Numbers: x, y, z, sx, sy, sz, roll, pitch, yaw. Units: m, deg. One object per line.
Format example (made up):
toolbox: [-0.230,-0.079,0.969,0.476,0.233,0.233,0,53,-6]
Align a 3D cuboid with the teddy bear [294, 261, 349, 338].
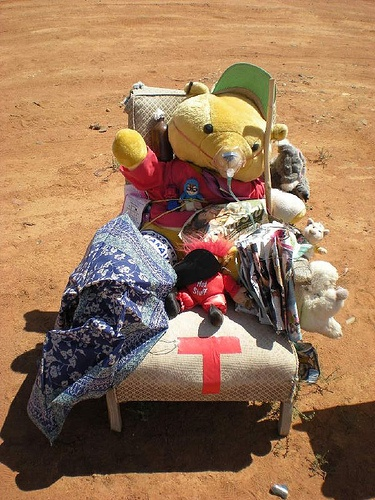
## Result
teddy bear: [0.736,0.268,3.043,0.281,0.389,0.302,3,32,6]

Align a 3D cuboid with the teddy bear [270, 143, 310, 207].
teddy bear: [0.718,-0.558,3.859,0.289,0.314,0.413,-7,12,0]

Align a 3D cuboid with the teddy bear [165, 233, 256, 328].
teddy bear: [0.102,0.180,3.175,0.530,0.262,0.489,4,65,9]

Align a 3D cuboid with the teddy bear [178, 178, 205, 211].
teddy bear: [0.022,-0.361,3.505,0.190,0.198,0.089,4,25,1]
